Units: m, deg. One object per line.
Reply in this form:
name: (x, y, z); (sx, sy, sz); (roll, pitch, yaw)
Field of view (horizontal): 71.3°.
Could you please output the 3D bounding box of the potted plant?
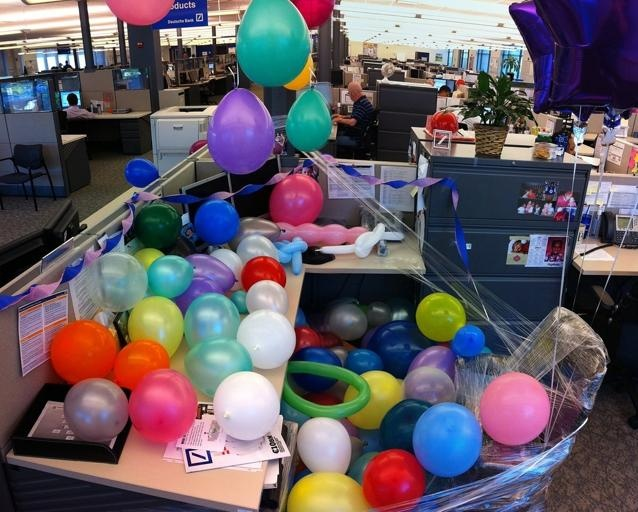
potted plant: (1.088, -0.854, 2.767); (0.425, 0.498, 0.432); (7, 0, 11)
